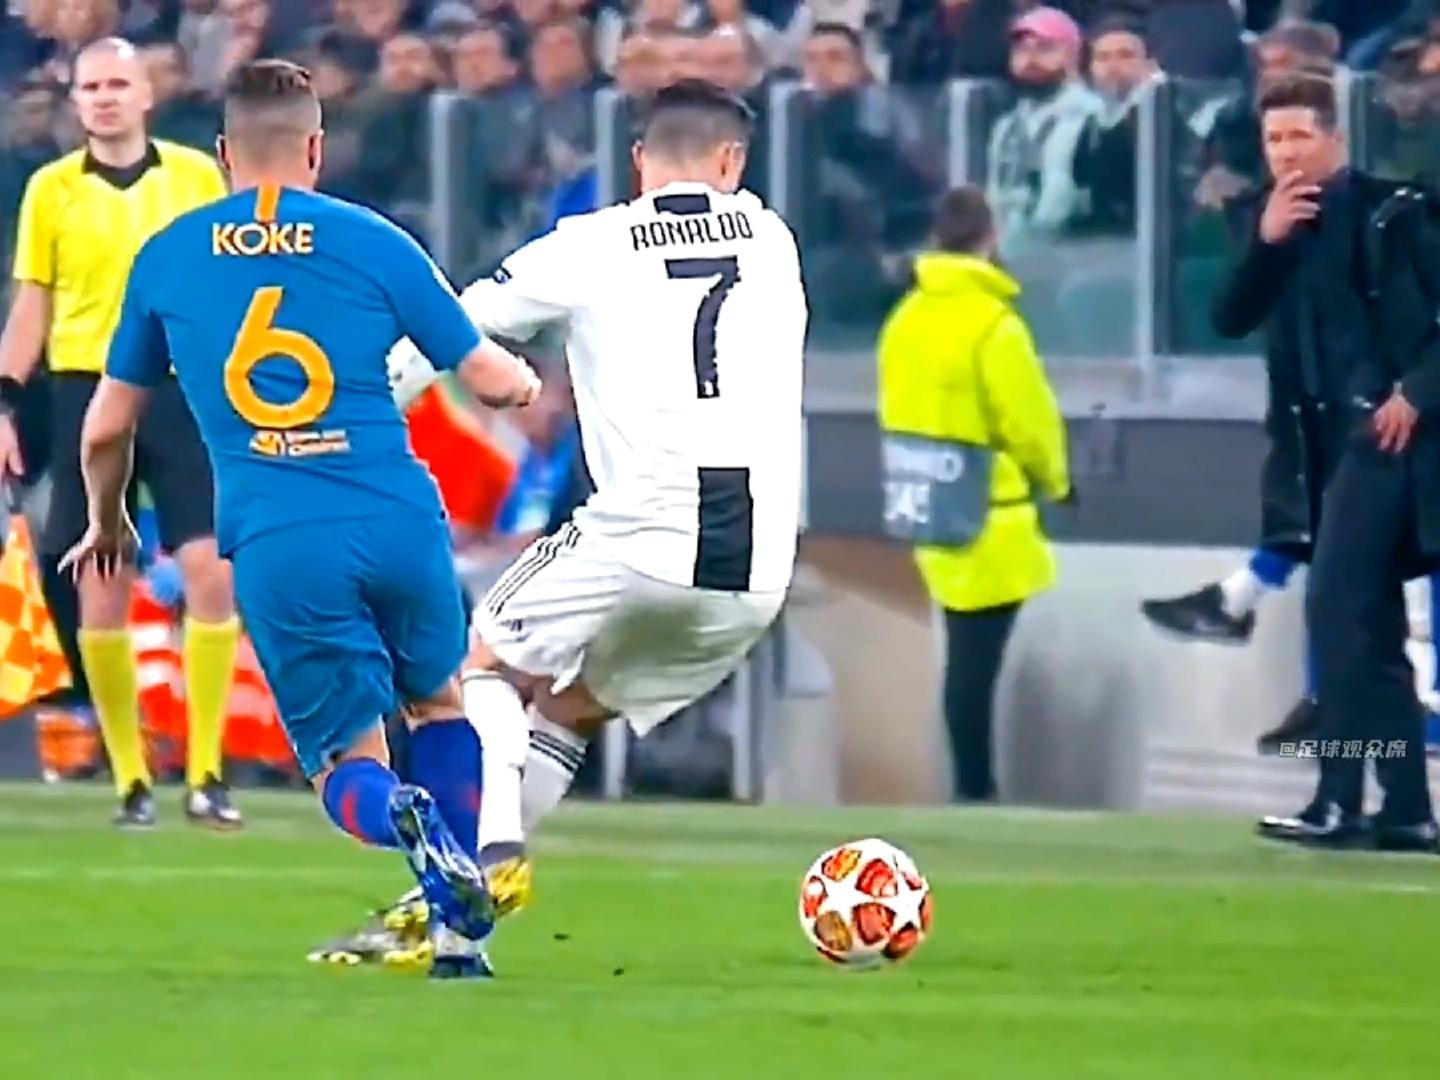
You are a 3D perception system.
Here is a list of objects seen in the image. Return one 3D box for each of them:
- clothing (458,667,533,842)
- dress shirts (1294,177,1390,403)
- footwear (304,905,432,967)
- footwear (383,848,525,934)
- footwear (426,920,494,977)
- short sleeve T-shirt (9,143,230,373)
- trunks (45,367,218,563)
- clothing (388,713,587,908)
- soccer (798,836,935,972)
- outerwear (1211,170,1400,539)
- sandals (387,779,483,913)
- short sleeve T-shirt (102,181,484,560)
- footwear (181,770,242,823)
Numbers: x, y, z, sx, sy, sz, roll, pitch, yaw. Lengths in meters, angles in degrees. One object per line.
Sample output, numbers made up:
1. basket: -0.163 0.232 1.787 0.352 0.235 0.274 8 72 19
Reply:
1. clothing: -0.587 0.555 7.132 0.090 0.353 0.246 5 -3 -25
2. dress shirts: 1.970 -0.779 8.952 0.307 0.681 0.162 1 5 10
3. footwear: -0.862 1.005 6.840 0.180 0.105 0.252 17 10 42
4. footwear: -0.701 0.939 6.937 0.131 0.133 0.366 -33 -11 33
5. footwear: -0.663 1.030 6.961 0.141 0.145 0.063 6 24 -19
6. short sleeve T-shirt: -1.798 -0.830 8.184 0.834 0.908 0.461 1 3 -12
7. trunks: -1.750 -0.235 8.203 0.555 0.710 0.267 3 21 6
8. clothing: -0.595 0.675 7.159 0.251 0.838 0.351 18 11 1
9. soccer: 0.412 0.946 7.213 0.269 0.294 0.345 2 4 38
10. outerwear: 1.972 -0.574 9.050 0.610 1.585 0.494 -9 -19 26
11. sandals: -0.688 0.748 6.620 0.150 0.321 0.196 -28 12 -7
12. short sleeve T-shirt: -1.161 -0.425 7.174 1.107 0.973 0.402 -10 7 3
13. footwear: -1.721 0.859 9.224 0.127 0.096 0.200 5 15 -30
